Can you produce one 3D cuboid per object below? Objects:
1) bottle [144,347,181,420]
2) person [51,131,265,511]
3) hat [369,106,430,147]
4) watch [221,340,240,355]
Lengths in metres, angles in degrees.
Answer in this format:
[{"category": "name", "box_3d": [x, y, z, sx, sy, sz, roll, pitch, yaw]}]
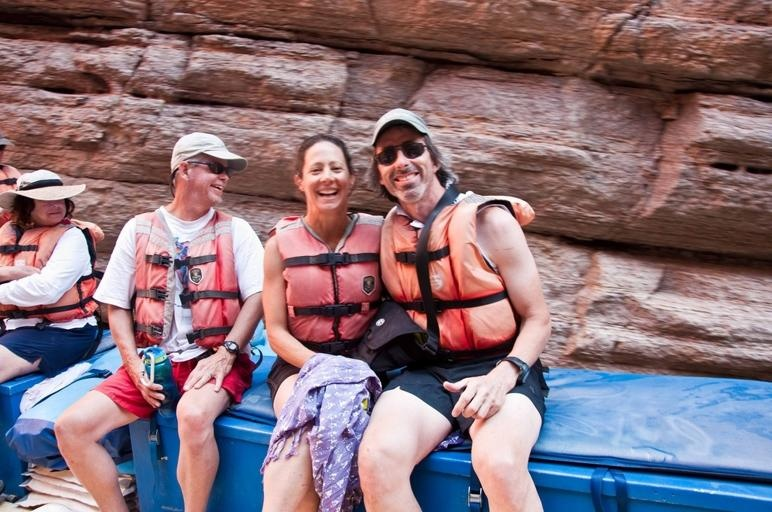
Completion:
[{"category": "bottle", "box_3d": [-1.777, 0.983, 4.811, 0.345, 0.524, 0.194, 7, 8, -4]}, {"category": "person", "box_3d": [-1.710, 0.482, 4.985, 1.357, 3.069, 1.239, 8, 7, -1]}, {"category": "hat", "box_3d": [0.123, -1.031, 4.818, 0.404, 0.204, 0.417, -11, -28, 9]}, {"category": "watch", "box_3d": [-1.248, 0.744, 4.933, 0.119, 0.061, 0.106, 33, -44, -24]}]
